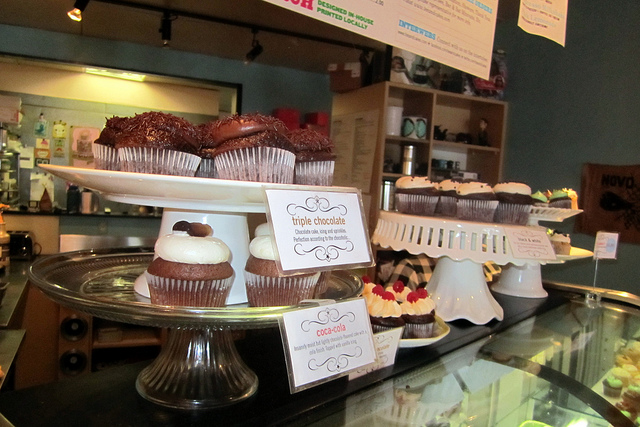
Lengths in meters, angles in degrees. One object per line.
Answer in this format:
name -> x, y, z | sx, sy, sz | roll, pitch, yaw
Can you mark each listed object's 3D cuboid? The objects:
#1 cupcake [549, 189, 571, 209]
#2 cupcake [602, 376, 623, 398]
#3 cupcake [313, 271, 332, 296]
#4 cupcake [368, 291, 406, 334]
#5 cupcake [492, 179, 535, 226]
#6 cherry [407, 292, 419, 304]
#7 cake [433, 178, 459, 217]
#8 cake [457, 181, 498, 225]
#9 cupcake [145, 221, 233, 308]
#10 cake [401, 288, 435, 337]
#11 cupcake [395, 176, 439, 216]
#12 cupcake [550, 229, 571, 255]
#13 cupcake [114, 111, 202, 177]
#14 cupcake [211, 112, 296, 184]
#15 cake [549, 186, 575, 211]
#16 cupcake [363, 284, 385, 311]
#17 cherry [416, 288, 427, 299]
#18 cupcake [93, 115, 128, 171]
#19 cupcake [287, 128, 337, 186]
cupcake -> 1.288, -0.084, 2.331 | 0.085, 0.094, 0.101 | 0, -11, -10
cupcake -> 0.899, 0.533, 1.318 | 0.056, 0.048, 0.057 | 3, -1, -15
cupcake -> 0.006, 0.194, 1.183 | 0.070, 0.053, 0.075 | 1, -17, -1
cupcake -> 0.194, 0.288, 1.254 | 0.101, 0.099, 0.101 | 1, 3, 10
cupcake -> 0.804, -0.048, 1.818 | 0.186, 0.182, 0.188 | 7, 4, 19
cherry -> 0.289, 0.262, 1.334 | 0.026, 0.015, 0.028 | -3, 22, 10
cake -> 0.568, -0.069, 1.949 | 0.167, 0.171, 0.143 | 1, -2, 5
cake -> 0.640, -0.047, 1.775 | 0.208, 0.156, 0.161 | 0, -1, 20
cupcake -> -0.359, 0.131, 1.150 | 0.264, 0.230, 0.244 | 6, 1, 4
cake -> 0.307, 0.306, 1.328 | 0.120, 0.131, 0.094 | 1, 3, 0
cupcake -> 0.422, -0.079, 1.871 | 0.187, 0.162, 0.178 | 2, 3, 13
cupcake -> 1.166, 0.145, 2.083 | 0.086, 0.081, 0.261 | 2, 3, 29
cupcake -> -0.473, -0.209, 1.260 | 0.243, 0.188, 0.122 | 0, 3, -15
cupcake -> -0.224, -0.179, 1.306 | 0.268, 0.197, 0.208 | -12, -4, -14
cake -> 1.336, -0.079, 2.362 | 0.108, 0.102, 0.116 | 3, 5, 34
cupcake -> 0.163, 0.252, 1.300 | 0.076, 0.046, 0.072 | 1, -4, -3
cherry -> 0.325, 0.251, 1.355 | 0.027, 0.017, 0.030 | -1, 15, 4
cupcake -> -0.685, -0.235, 1.436 | 0.147, 0.162, 0.151 | -4, 20, -38
cupcake -> -0.023, -0.185, 1.458 | 0.173, 0.167, 0.184 | 0, 6, -1
